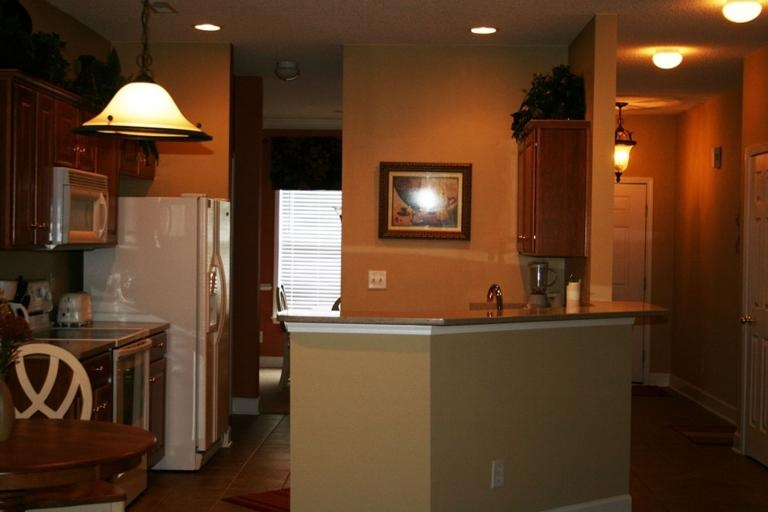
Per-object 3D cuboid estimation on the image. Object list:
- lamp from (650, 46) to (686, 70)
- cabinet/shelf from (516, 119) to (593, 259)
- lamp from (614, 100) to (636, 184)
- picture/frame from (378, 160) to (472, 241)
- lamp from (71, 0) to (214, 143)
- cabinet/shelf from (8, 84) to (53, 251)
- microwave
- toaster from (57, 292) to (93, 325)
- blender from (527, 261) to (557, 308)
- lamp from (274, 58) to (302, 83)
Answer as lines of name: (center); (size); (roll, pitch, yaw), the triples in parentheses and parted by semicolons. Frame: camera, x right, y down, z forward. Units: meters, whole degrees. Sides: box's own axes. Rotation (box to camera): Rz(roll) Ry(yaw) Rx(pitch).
lamp: (2.563, -1.796, 5.906); (0.243, 0.146, 0.241); (0, 4, -1)
cabinet/shelf: (1.479, -0.589, 5.485); (0.546, 1.179, 1.272); (1, 1, 7)
lamp: (2.901, -1.385, 7.788); (0.215, 0.941, 1.369); (3, 5, 20)
picture/frame: (0.401, -0.532, 6.062); (0.750, 0.617, 0.071); (1, 0, 1)
lamp: (-1.730, -1.412, 4.511); (0.766, 1.217, 1.491); (-1, 5, -25)
cabinet/shelf: (-2.537, -0.651, 4.690); (0.119, 1.147, 0.361); (3, 5, 21)
microwave: (-2.353, -0.368, 5.139); (0.479, 0.703, 0.920); (0, 0, -4)
toaster: (-2.573, 0.432, 5.348); (0.297, 0.227, 0.279); (4, 2, 17)
blender: (1.428, 0.258, 5.815); (0.244, 0.409, 0.687); (2, 5, 15)
lamp: (-0.982, -1.901, 6.585); (0.212, 0.141, 0.198); (-1, 4, -9)
